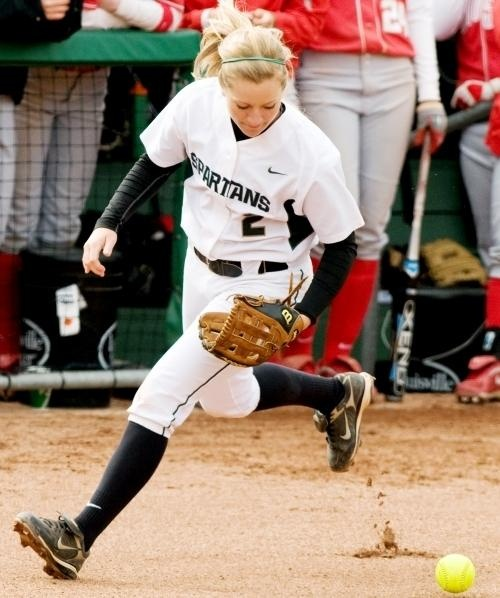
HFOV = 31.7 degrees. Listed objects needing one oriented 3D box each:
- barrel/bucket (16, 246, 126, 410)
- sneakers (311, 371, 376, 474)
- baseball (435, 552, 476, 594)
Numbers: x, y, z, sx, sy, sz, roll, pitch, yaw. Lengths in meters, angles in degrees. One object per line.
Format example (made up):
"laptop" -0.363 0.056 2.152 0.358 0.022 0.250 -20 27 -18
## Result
"barrel/bucket" -0.746 0.137 3.633 0.410 0.642 0.265 -11 25 -23
"sneakers" 0.286 0.360 2.697 0.177 0.325 0.121 -3 10 -21
"baseball" 0.498 0.656 2.110 0.101 0.075 0.102 3 9 6
